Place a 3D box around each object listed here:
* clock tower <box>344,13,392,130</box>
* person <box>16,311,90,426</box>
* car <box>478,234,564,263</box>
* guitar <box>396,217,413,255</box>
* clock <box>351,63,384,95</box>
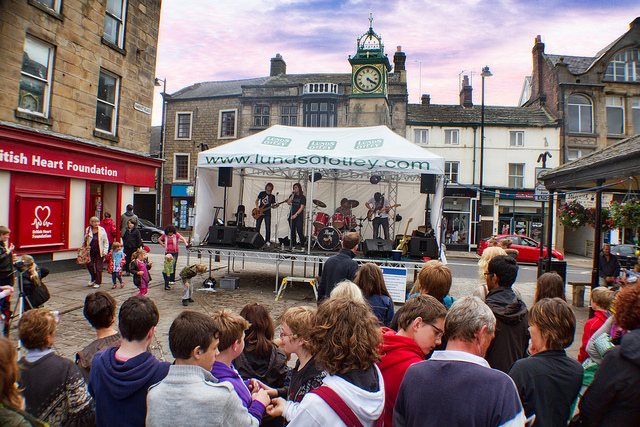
[{"bbox_3d":[2.590,-7.219,30.451,1.962,4.856,2.119,2,-4,3],"label":"clock tower"},{"bbox_3d":[-3.982,2.305,8.452,1.059,1.647,0.278,2,-4,1],"label":"person"},{"bbox_3d":[7.084,1.216,19.814,2.980,1.139,1.516,0,1,-5],"label":"car"},{"bbox_3d":[2.478,0.649,16.801,0.383,1.123,1.510,2,-4,8],"label":"guitar"},{"bbox_3d":[2.639,-7.133,30.544,1.759,1.788,0.674,3,1,25],"label":"clock"}]
